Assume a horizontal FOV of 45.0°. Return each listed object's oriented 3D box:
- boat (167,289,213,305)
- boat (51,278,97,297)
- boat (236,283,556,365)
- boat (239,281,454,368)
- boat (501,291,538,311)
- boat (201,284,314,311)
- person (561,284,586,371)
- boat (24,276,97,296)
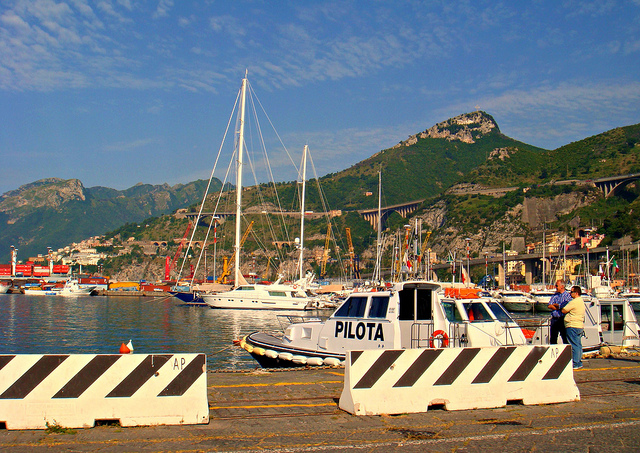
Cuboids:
[{"bbox_3d":[-15.911,8.108,90.372,6.002,1.824,1.722,2,-12,21],"label":"boat"},{"bbox_3d":[-44.750,10.927,138.678,6.228,2.608,12.709,-1,-1,-16],"label":"boat"},{"bbox_3d":[2.154,3.927,30.707,10.012,2.755,5.218,-7,-9,37],"label":"boat"},{"bbox_3d":[1.365,4.062,30.755,3.848,2.778,8.173,8,-11,-44],"label":"boat"},{"bbox_3d":[25.046,9.097,98.539,5.034,2.331,8.528,0,-5,4],"label":"boat"},{"bbox_3d":[-6.693,7.291,79.439,10.897,2.649,3.459,2,-7,10],"label":"boat"},{"bbox_3d":[9.139,3.636,27.530,0.764,3.074,1.466,-2,-2,17],"label":"person"},{"bbox_3d":[-47.338,11.074,142.789,18.247,2.574,12.731,-3,-2,45],"label":"boat"}]
